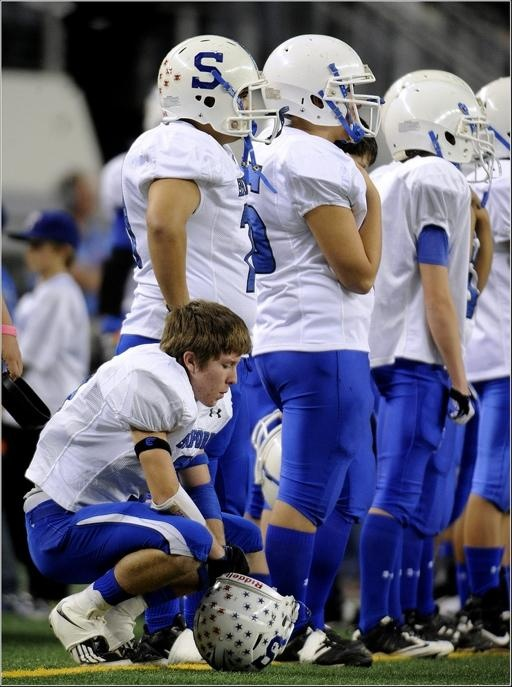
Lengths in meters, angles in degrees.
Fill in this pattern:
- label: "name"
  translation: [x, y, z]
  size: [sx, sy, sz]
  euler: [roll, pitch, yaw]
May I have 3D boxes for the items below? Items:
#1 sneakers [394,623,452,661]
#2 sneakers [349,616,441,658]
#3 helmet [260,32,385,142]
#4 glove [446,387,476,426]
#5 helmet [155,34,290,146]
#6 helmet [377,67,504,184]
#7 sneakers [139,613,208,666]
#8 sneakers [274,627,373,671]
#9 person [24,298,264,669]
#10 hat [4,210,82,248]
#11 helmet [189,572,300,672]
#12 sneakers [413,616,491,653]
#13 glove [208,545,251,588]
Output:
- label: "sneakers"
  translation: [0.607, 1.060, 3.694]
  size: [0.250, 0.109, 0.081]
  euler: [4, 5, -26]
- label: "sneakers"
  translation: [0.467, 1.026, 3.638]
  size: [0.348, 0.143, 0.112]
  euler: [3, 0, -14]
- label: "helmet"
  translation: [0.212, -0.829, 3.436]
  size: [0.409, 0.308, 0.320]
  euler: [1, 13, 0]
- label: "glove"
  translation: [0.692, 0.201, 3.567]
  size: [0.084, 0.123, 0.158]
  euler: [3, 18, 8]
- label: "helmet"
  translation: [-0.120, -0.807, 3.276]
  size: [0.414, 0.297, 0.294]
  euler: [4, 16, -2]
- label: "helmet"
  translation: [0.702, -0.807, 3.880]
  size: [0.460, 0.380, 0.335]
  euler: [0, 7, -3]
- label: "sneakers"
  translation: [-0.263, 0.904, 3.113]
  size: [0.255, 0.110, 0.088]
  euler: [-3, -17, 39]
- label: "sneakers"
  translation: [0.210, 0.931, 3.193]
  size: [0.331, 0.136, 0.115]
  euler: [0, -7, 6]
- label: "person"
  translation: [-0.311, 0.436, 2.871]
  size: [0.637, 1.056, 0.419]
  euler: [-4, 19, -13]
- label: "hat"
  translation: [-1.188, -0.637, 5.936]
  size: [0.343, 0.170, 0.235]
  euler: [2, 0, -21]
- label: "helmet"
  translation: [-0.021, 0.763, 2.917]
  size: [0.215, 0.207, 0.282]
  euler: [22, 11, 24]
- label: "sneakers"
  translation: [0.704, 1.077, 3.820]
  size: [0.333, 0.137, 0.110]
  euler: [9, 7, -17]
- label: "glove"
  translation: [-0.080, 0.624, 2.910]
  size: [0.055, 0.066, 0.162]
  euler: [20, 14, 23]
